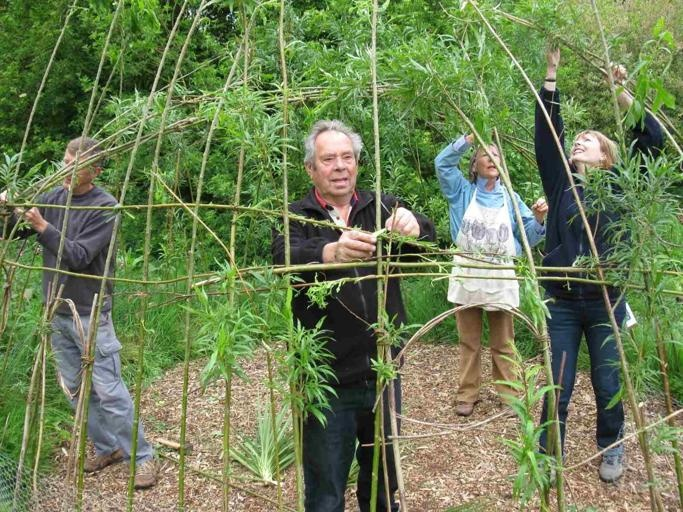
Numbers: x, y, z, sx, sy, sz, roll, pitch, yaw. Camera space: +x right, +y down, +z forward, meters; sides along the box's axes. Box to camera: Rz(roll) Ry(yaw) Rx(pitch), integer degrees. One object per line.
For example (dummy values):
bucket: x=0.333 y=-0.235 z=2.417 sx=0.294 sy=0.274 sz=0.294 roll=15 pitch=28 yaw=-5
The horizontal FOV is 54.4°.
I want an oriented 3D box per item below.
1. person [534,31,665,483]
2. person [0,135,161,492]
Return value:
person: x=1.578 y=0.163 z=4.263 sx=0.758 sy=2.776 sz=1.406 roll=3 pitch=8 yaw=15
person: x=-1.726 y=0.408 z=4.498 sx=0.862 sy=2.390 sz=1.276 roll=-3 pitch=9 yaw=-27
